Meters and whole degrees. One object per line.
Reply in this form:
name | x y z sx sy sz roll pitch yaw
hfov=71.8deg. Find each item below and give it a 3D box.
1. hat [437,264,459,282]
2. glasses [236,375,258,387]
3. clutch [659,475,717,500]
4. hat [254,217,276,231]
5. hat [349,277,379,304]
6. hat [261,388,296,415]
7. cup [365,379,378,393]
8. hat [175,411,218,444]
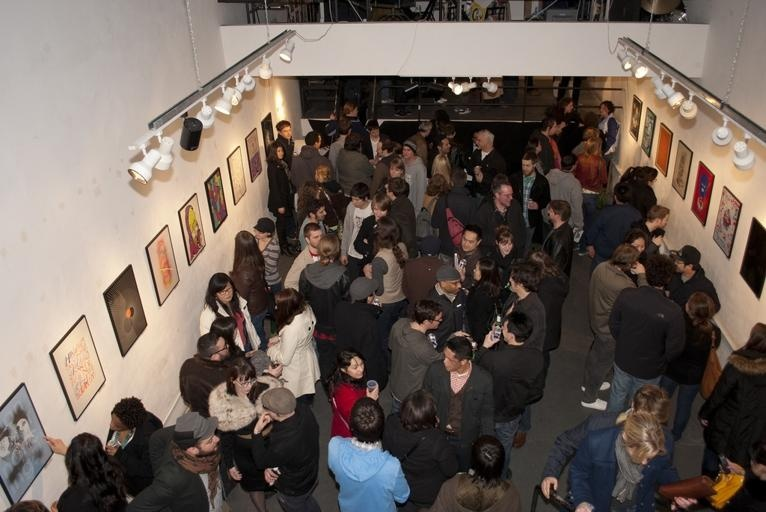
hat | 0.695 0.176 5.620 0.191 0.200 0.154 -22 22 22
glasses | -1.216 1.120 4.704 0.108 0.037 0.107 11 6 44
clutch | 2.365 1.831 4.123 0.240 0.254 0.085 -5 52 16
hat | -1.478 -0.398 6.689 0.221 0.136 0.171 24 21 -10
hat | -0.207 0.383 5.888 0.218 0.154 0.306 27 69 26
hat | -0.866 1.228 4.437 0.256 0.095 0.196 30 58 14
cup | -0.112 1.199 4.864 0.103 0.142 0.117 -2 27 17
hat | -1.475 1.356 4.187 0.272 0.132 0.209 -10 44 -20
